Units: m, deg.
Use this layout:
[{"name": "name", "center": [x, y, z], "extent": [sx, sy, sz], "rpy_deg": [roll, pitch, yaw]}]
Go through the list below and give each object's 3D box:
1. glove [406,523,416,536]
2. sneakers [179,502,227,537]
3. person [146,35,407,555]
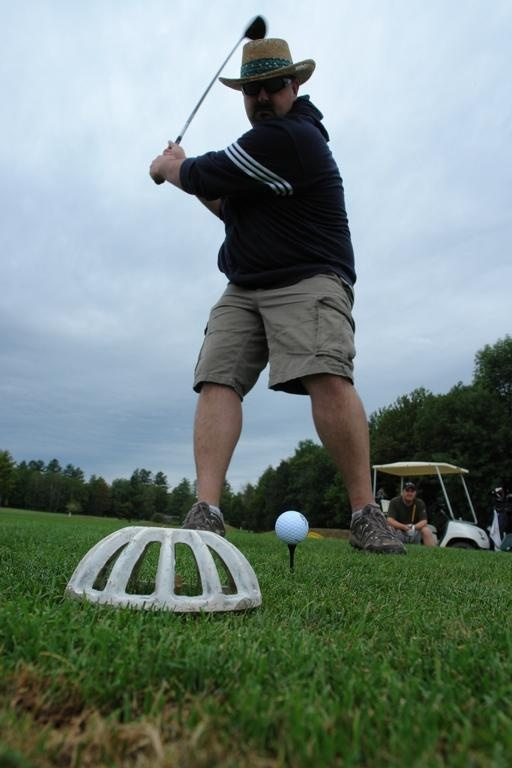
[{"name": "glove", "center": [3.383, 3.221, 12.174], "extent": [0.163, 0.207, 0.084], "rpy_deg": [-10, -24, 15]}, {"name": "sneakers", "center": [-0.269, 0.723, 2.880], "extent": [0.132, 0.149, 0.331], "rpy_deg": [1, -25, 10]}, {"name": "person", "center": [0.162, -0.691, 3.658], "extent": [1.531, 3.251, 0.870], "rpy_deg": [3, -12, -24]}]
